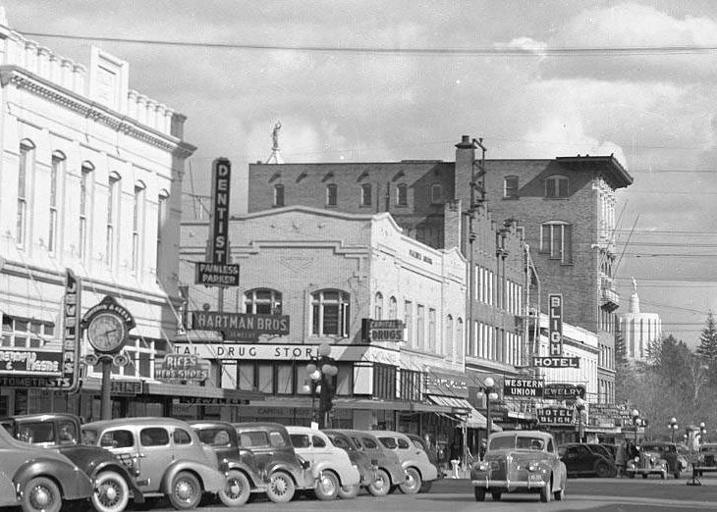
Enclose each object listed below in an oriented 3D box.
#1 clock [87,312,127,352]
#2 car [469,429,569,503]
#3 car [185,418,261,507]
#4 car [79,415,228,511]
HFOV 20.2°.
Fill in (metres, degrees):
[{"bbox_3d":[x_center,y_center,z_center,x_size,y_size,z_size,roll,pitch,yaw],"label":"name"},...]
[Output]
[{"bbox_3d":[-9.900,2.965,79.247,1.525,1.633,0.429,-1,-12,3],"label":"clock"},{"bbox_3d":[6.496,8.382,81.241,3.306,2.508,5.823,0,0,13],"label":"car"},{"bbox_3d":[-5.539,7.758,75.392,2.112,3.402,2.705,-7,-15,24],"label":"car"},{"bbox_3d":[-7.590,7.546,73.583,4.833,2.350,2.910,7,-11,-25],"label":"car"}]
